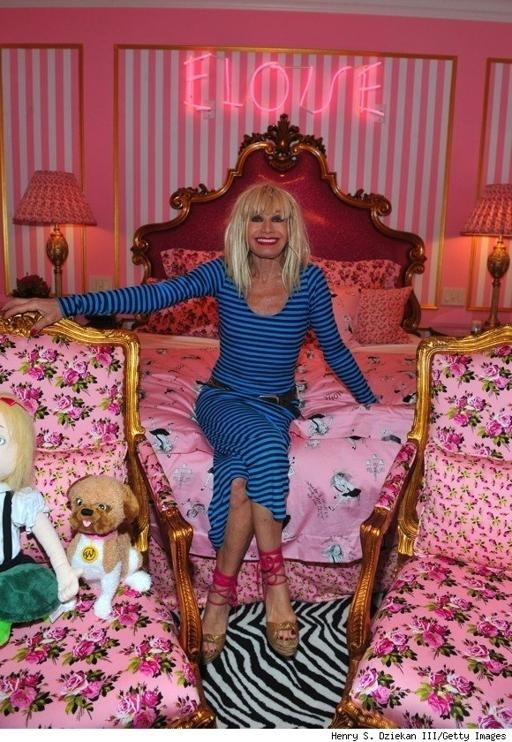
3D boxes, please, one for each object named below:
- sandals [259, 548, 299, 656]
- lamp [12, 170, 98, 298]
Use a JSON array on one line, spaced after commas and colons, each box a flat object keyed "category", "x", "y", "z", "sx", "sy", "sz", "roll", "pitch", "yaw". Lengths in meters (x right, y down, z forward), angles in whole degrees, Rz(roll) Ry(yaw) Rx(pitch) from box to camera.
[{"category": "sandals", "x": 0.068, "y": 0.722, "z": 1.829, "sx": 0.115, "sy": 0.230, "sz": 0.358, "roll": -7, "pitch": 13, "yaw": -3}, {"category": "lamp", "x": -1.345, "y": -0.845, "z": 3.909, "sx": 0.518, "sy": 0.913, "sz": 0.471, "roll": -3, "pitch": 17, "yaw": -16}]
